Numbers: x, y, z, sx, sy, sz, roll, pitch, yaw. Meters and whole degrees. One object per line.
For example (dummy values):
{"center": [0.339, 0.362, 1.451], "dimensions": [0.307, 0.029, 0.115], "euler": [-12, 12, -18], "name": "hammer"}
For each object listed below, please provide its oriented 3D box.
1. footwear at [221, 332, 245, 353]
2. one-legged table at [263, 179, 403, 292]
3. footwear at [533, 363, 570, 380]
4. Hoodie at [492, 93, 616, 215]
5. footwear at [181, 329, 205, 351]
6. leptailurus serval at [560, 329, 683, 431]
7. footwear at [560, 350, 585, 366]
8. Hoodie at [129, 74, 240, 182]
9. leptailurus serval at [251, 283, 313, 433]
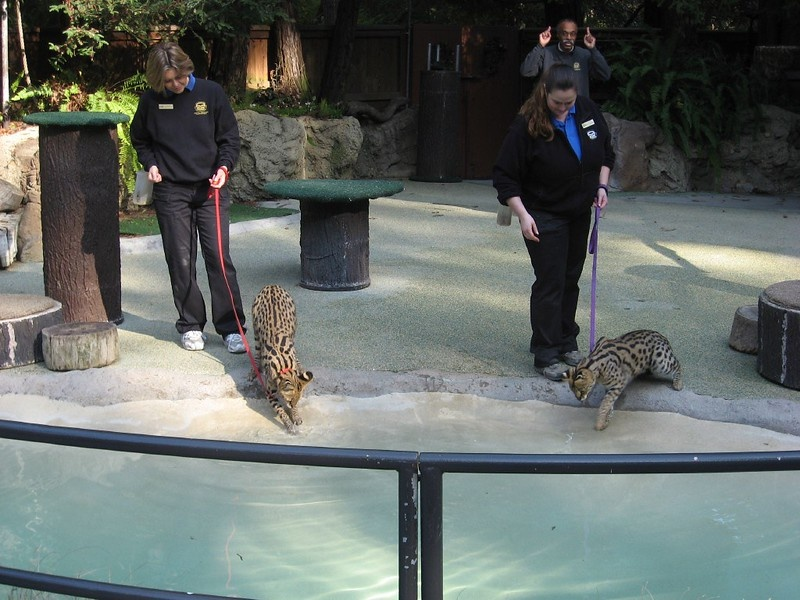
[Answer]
{"center": [-1.206, 0.323, 5.845], "dimensions": [0.084, 0.088, 0.196], "euler": [-7, 6, -30], "name": "footwear"}
{"center": [-0.587, -0.599, 7.466], "dimensions": [1.198, 0.934, 1.225], "euler": [-7, 16, -24], "name": "one-legged table"}
{"center": [1.014, 0.478, 5.355], "dimensions": [0.197, 0.096, 0.097], "euler": [2, 9, 43], "name": "footwear"}
{"center": [1.038, -0.968, 5.197], "dimensions": [0.846, 0.728, 0.524], "euler": [-16, 34, -16], "name": "Hoodie"}
{"center": [-1.516, 0.296, 5.868], "dimensions": [0.122, 0.126, 0.286], "euler": [0, -7, -15], "name": "footwear"}
{"center": [1.423, 0.504, 5.117], "dimensions": [0.912, 0.535, 0.318], "euler": [-7, 15, -30], "name": "leptailurus serval"}
{"center": [1.184, 0.395, 5.504], "dimensions": [0.131, 0.054, 0.073], "euler": [-5, 17, 37], "name": "footwear"}
{"center": [-1.539, -1.210, 5.699], "dimensions": [0.753, 0.724, 0.417], "euler": [-3, 23, -2], "name": "Hoodie"}
{"center": [-0.787, 0.420, 5.282], "dimensions": [0.227, 0.865, 0.453], "euler": [-11, -22, 2], "name": "leptailurus serval"}
